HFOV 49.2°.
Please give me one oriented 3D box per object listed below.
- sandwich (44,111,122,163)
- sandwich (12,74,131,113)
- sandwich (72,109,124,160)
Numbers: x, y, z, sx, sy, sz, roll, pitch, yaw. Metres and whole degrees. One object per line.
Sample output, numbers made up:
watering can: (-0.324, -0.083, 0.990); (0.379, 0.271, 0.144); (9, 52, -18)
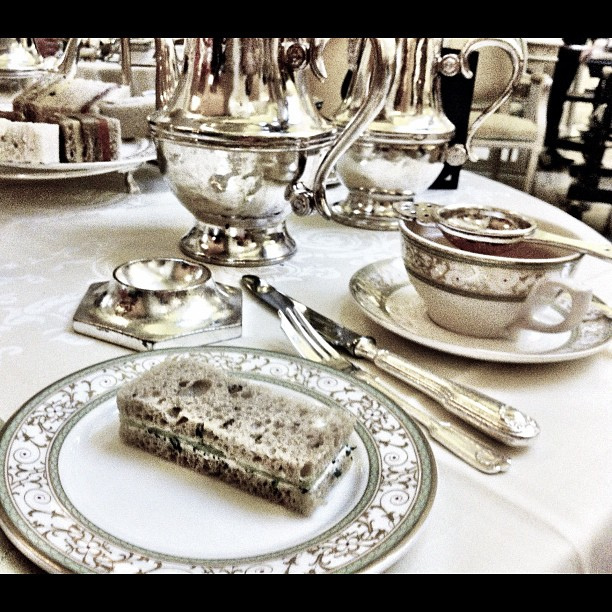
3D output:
sandwich: (-0.291, -0.218, 0.876); (0.086, 0.057, 0.084); (-6, 22, -28)
sandwich: (-0.352, -0.311, 0.992); (0.118, 0.029, 0.119); (7, 24, 2)
sandwich: (-0.276, -0.223, 0.917); (0.063, 0.077, 0.106); (-9, 18, -29)
